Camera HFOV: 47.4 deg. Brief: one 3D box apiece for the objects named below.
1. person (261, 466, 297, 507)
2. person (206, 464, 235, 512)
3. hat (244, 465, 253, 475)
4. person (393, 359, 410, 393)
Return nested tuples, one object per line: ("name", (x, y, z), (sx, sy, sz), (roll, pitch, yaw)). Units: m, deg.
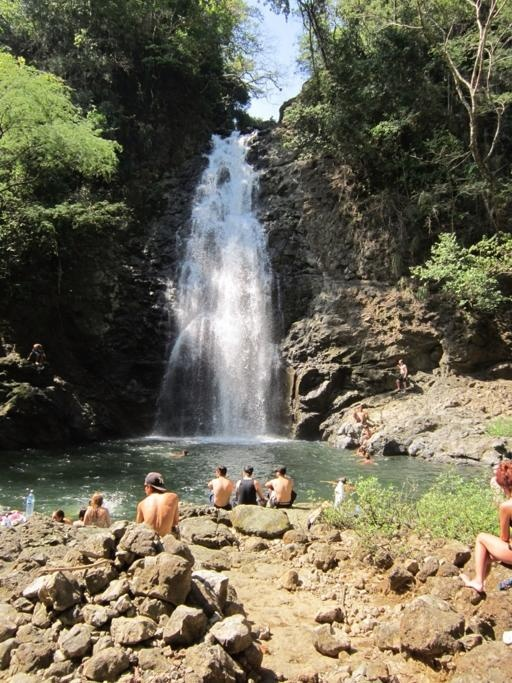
("person", (0.402, 2.453, 9.841), (0.557, 0.715, 0.678), (5, -6, -1))
("person", (-0.600, 2.549, 9.893), (0.425, 0.963, 0.600), (0, 12, -11))
("hat", (-0.111, 2.057, 9.417), (0.144, 0.166, 0.170), (3, 21, 0))
("person", (5.247, 1.215, 20.818), (0.466, 1.064, 0.915), (1, 3, 14))
